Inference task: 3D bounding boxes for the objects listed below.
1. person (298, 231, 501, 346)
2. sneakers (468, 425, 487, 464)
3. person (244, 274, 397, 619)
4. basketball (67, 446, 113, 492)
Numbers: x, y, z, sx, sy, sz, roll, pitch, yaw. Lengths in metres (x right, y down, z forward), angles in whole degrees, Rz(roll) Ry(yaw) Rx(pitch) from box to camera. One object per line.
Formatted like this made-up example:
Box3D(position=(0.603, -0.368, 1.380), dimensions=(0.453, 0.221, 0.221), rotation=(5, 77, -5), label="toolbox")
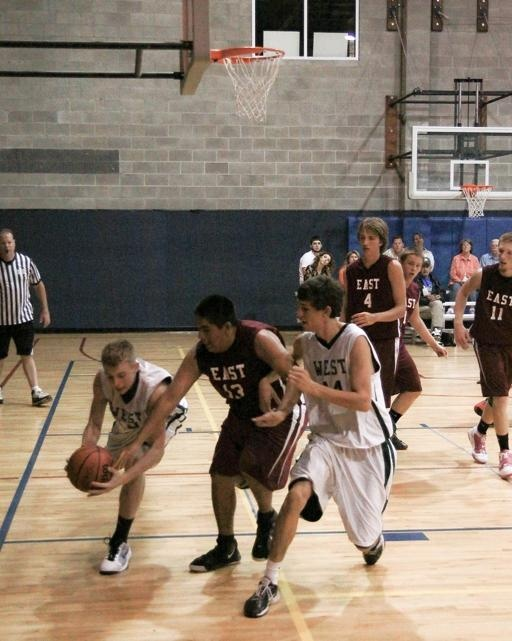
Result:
Box3D(position=(1.422, -0.301, 7.118), dimensions=(2.099, 0.959, 0.558), rotation=(0, -2, -14), label="person")
Box3D(position=(1.496, 0.824, 5.287), dimensions=(0.094, 0.243, 0.109), rotation=(-8, -13, -10), label="sneakers")
Box3D(position=(0.269, 0.475, 3.319), dimensions=(0.758, 1.325, 0.528), rotation=(-2, 6, -15), label="person")
Box3D(position=(-0.666, 0.609, 3.243), dimensions=(0.199, 0.171, 0.170), rotation=(5, 8, 38), label="basketball")
